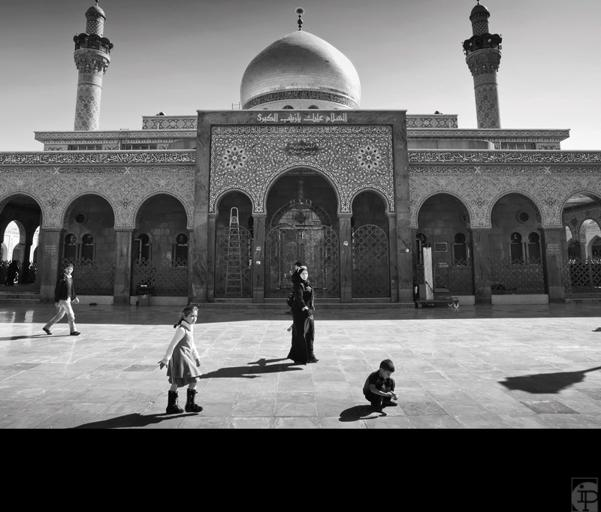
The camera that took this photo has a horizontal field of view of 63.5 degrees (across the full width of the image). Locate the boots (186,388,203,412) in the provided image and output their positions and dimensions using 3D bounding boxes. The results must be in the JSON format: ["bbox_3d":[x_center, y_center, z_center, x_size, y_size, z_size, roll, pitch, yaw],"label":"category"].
[{"bbox_3d":[-0.782,1.043,3.561,0.123,0.154,0.137,-1,4,-12],"label":"boots"}]

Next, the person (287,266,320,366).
[{"bbox_3d":[0.021,0.617,5.320,0.317,1.064,0.704,0,3,-1],"label":"person"}]

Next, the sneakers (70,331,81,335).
[{"bbox_3d":[-3.254,1.099,7.029,0.127,0.059,0.049,0,-6,-8],"label":"sneakers"}]

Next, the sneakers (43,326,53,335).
[{"bbox_3d":[-3.668,1.072,7.053,0.094,0.115,0.258,4,-11,-31],"label":"sneakers"}]
